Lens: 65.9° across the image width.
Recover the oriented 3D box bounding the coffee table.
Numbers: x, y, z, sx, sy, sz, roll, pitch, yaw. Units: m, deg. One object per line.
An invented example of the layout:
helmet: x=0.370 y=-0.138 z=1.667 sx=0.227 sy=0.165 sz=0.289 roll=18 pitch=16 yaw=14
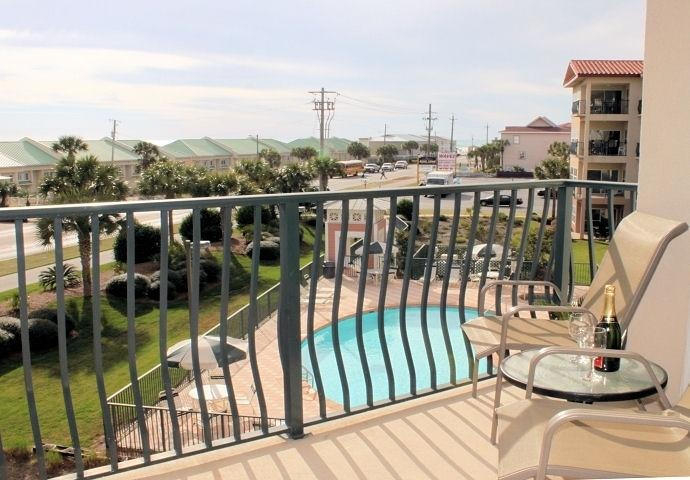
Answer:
coffee table: x=1.179 y=0.695 z=2.670 sx=0.544 sy=0.440 sz=0.591 roll=1 pitch=7 yaw=24

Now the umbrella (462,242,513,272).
umbrella: x=3.495 y=0.446 z=13.029 sx=1.056 sy=0.400 sz=1.073 roll=-2 pitch=22 yaw=12

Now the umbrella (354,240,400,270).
umbrella: x=1.171 y=0.656 z=22.283 sx=1.427 sy=1.017 sz=1.412 roll=0 pitch=4 yaw=-3

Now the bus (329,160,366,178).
bus: x=0.657 y=-11.239 z=80.153 sx=2.799 sy=2.474 sz=7.983 roll=0 pitch=7 yaw=29

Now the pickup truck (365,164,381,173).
pickup truck: x=4.801 y=-12.781 z=94.681 sx=1.509 sy=1.131 sz=3.474 roll=1 pitch=5 yaw=16

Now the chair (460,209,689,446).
chair: x=1.544 y=0.384 z=3.516 sx=1.502 sy=1.715 sz=1.098 roll=0 pitch=9 yaw=-2

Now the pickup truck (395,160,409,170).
pickup truck: x=11.127 y=-14.859 z=104.828 sx=1.848 sy=1.440 sz=4.428 roll=3 pitch=16 yaw=17
